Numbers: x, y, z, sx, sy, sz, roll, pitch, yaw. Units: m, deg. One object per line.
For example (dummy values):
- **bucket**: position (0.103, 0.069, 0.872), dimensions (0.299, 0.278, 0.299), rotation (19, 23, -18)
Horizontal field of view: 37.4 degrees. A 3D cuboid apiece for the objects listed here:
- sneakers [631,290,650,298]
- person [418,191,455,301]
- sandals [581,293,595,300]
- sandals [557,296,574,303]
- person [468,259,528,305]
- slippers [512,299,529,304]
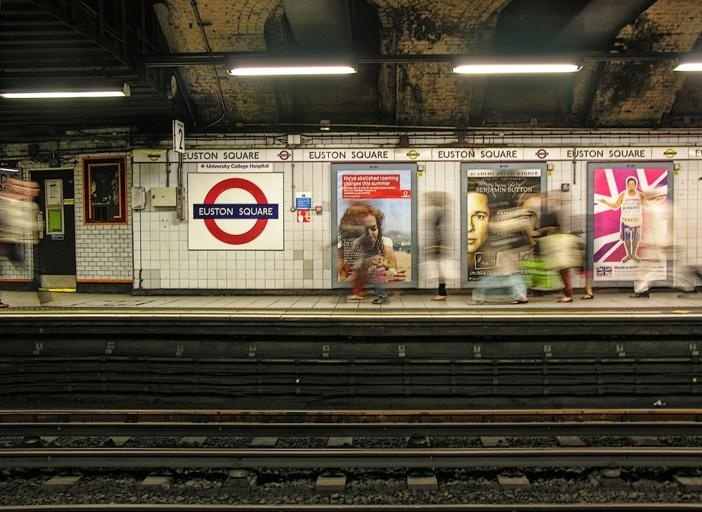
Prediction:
- **sneakers**: position (6.247, 0.835, 22.566), dimensions (0.515, 0.183, 0.159), rotation (3, 2, 8)
- **person**: position (1.872, -0.236, 22.595), dimensions (0.606, 2.325, 1.312), rotation (-1, 5, 5)
- **sandals**: position (5.103, 0.865, 22.310), dimensions (0.349, 0.111, 0.107), rotation (0, 2, -3)
- **sandals**: position (4.529, 0.920, 21.742), dimensions (0.277, 0.083, 0.138), rotation (1, 2, -4)
- **person**: position (3.213, 0.683, 22.041), dimensions (1.315, 0.720, 0.692), rotation (1, -13, 14)
- **slippers**: position (3.511, 0.961, 21.551), dimensions (0.326, 0.114, 0.111), rotation (3, 1, 9)
